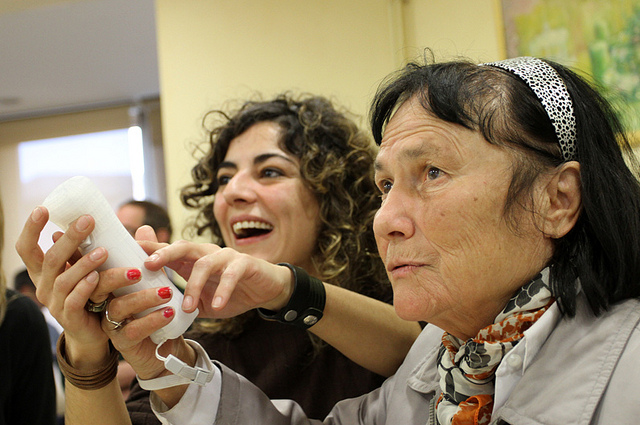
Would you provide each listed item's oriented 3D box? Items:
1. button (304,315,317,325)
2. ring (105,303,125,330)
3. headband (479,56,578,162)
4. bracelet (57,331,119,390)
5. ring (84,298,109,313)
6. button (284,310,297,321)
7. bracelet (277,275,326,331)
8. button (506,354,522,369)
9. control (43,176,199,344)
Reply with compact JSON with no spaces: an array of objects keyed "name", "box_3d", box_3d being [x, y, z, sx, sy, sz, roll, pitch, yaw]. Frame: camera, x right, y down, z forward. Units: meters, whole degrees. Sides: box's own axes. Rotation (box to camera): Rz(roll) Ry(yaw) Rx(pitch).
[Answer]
[{"name":"button","box_3d":[-0.028,0.319,1.771,0.025,0.013,0.035,-17,-7,-15]},{"name":"ring","box_3d":[-0.522,0.265,1.557,0.058,0.060,0.016,3,23,25]},{"name":"headband","box_3d":[0.544,-0.255,1.497,0.151,0.283,0.094,-9,-2,-15]},{"name":"bracelet","box_3d":[-0.635,0.444,1.653,0.157,0.170,0.105,-1,-41,-8]},{"name":"ring","box_3d":[-0.576,0.244,1.540,0.039,0.018,0.045,-6,-18,3]},{"name":"button","box_3d":[-0.085,0.298,1.724,0.030,0.031,0.007,-15,39,-25]},{"name":"bracelet","box_3d":[-0.044,0.269,1.819,0.122,0.163,0.147,3,10,13]},{"name":"button","box_3d":[0.466,0.357,1.433,0.037,0.035,0.007,-10,-2,-2]},{"name":"control","box_3d":[-0.504,0.100,1.582,0.205,0.582,0.162,-42,12,-23]}]
